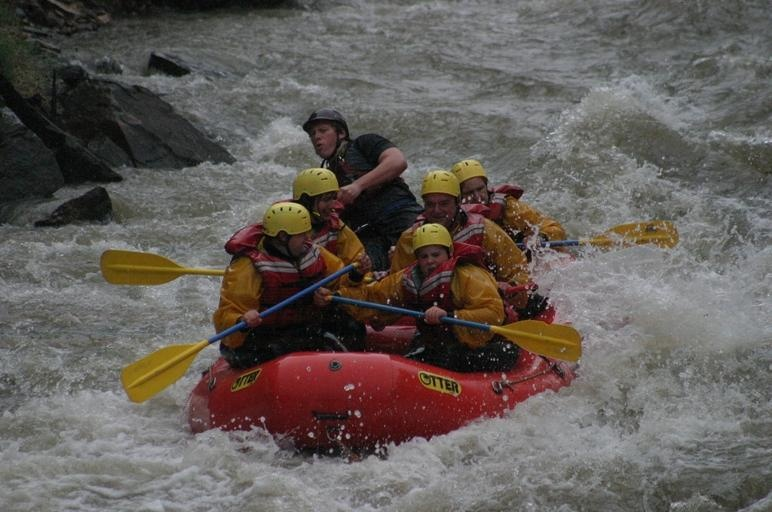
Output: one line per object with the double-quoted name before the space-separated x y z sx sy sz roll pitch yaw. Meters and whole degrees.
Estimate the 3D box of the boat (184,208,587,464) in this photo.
"boat" 0.236 1.481 16.201 3.902 4.860 1.519 -3 90 18

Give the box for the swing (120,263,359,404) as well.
"swing" -1.649 0.729 15.091 3.347 0.458 0.233 -30 55 -31

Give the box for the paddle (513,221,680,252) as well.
"paddle" 2.692 -0.232 16.232 2.338 0.261 0.456 -3 74 -6
